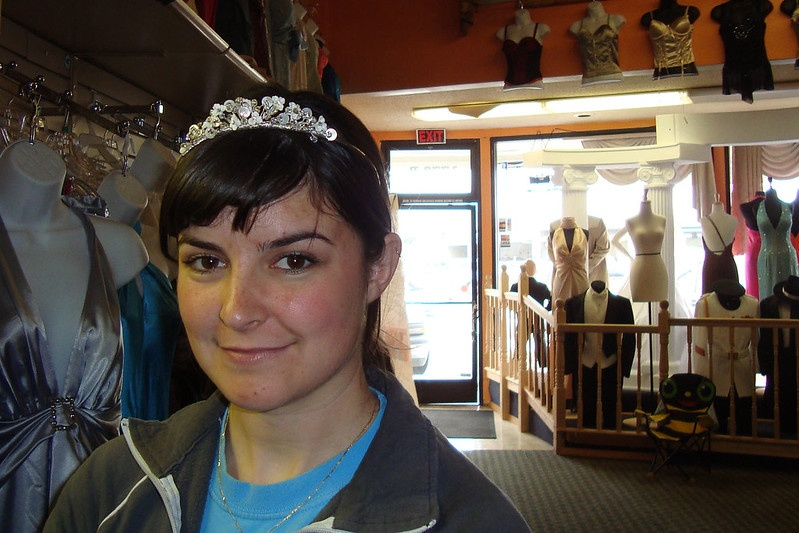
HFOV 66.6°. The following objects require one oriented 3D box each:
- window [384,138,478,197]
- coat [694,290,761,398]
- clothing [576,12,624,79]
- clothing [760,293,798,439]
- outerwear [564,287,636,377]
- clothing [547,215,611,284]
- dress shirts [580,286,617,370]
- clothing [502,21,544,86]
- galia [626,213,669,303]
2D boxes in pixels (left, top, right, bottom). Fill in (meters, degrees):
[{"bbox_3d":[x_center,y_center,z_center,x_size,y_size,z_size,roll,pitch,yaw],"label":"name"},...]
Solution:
[{"bbox_3d":[0.409,-1.160,7.324,1.229,0.804,0.103,0,-11,-3],"label":"window"},{"bbox_3d":[2.735,0.668,5.091,0.486,0.828,0.531,1,6,28],"label":"coat"},{"bbox_3d":[1.621,-1.745,4.938,0.390,0.580,0.210,-3,0,29],"label":"clothing"},{"bbox_3d":[3.081,0.711,4.937,0.277,1.228,0.497,2,6,32],"label":"clothing"},{"bbox_3d":[1.811,0.610,5.445,0.619,0.842,0.295,-3,2,34],"label":"outerwear"},{"bbox_3d":[1.968,-0.169,6.636,0.712,1.053,0.430,0,5,15],"label":"clothing"},{"bbox_3d":[1.757,0.559,5.411,0.433,0.648,0.348,-1,-8,24],"label":"dress shirts"},{"bbox_3d":[1.010,-1.700,4.997,0.299,0.527,0.254,-1,-1,23],"label":"clothing"},{"bbox_3d":[2.545,0.142,6.145,0.367,1.317,0.266,-2,0,8],"label":"galia"}]
